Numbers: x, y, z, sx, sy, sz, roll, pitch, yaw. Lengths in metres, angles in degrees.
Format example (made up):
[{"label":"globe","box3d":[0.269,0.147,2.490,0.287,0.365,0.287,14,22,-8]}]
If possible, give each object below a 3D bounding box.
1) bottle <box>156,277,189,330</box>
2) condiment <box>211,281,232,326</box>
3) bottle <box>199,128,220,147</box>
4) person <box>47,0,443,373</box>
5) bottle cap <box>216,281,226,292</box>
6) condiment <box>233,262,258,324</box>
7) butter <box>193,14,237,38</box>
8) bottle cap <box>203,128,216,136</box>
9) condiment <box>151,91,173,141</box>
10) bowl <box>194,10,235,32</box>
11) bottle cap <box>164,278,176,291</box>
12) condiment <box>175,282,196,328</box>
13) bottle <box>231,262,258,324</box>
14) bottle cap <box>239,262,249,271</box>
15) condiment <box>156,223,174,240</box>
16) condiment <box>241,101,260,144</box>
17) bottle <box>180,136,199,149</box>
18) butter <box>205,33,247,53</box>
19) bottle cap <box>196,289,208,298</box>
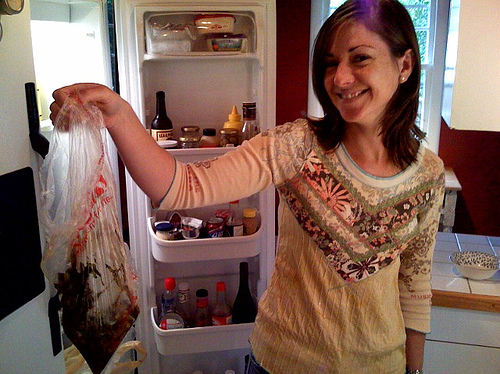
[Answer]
[{"label":"bottle","box3d":[-0.342,0.544,1.837,0.126,0.259,0.148,-1,16,-9]},{"label":"condiment","box3d":[-0.134,0.565,1.889,0.101,0.265,0.100,-5,11,-27]},{"label":"bottle","box3d":[-0.173,-0.212,1.752,0.076,0.075,0.078,2,7,6]},{"label":"person","box3d":[0.120,0.080,1.069,0.882,1.064,0.235,-5,14,-18]},{"label":"bottle cap","box3d":[-0.133,0.443,1.837,0.047,0.035,0.047,2,2,1]},{"label":"condiment","box3d":[-0.025,0.470,1.935,0.096,0.316,0.120,0,3,14]},{"label":"butter","box3d":[-0.145,-0.641,1.641,0.180,0.078,0.144,-1,14,-2]},{"label":"bottle cap","box3d":[-0.178,-0.238,1.771,0.040,0.024,0.040,0,6,-4]},{"label":"condiment","box3d":[-0.374,-0.297,1.755,0.088,0.214,0.086,-4,20,-12]},{"label":"bowl","box3d":[-0.140,-0.650,1.638,0.107,0.040,0.083,-2,-1,13]},{"label":"bottle cap","box3d":[-0.358,0.425,1.826,0.052,0.049,0.053,3,4,7]},{"label":"condiment","box3d":[-0.299,0.536,1.866,0.085,0.220,0.109,0,17,-6]},{"label":"bottle","box3d":[-0.024,0.500,1.961,0.111,0.326,0.098,3,9,20]},{"label":"bottle cap","box3d":[-0.030,0.361,1.862,0.034,0.038,0.035,0,4,1]},{"label":"condiment","box3d":[-0.355,0.184,1.710,0.063,0.067,0.064,0,1,-6]},{"label":"condiment","box3d":[0.000,-0.245,1.780,0.089,0.222,0.090,-1,-4,-2]},{"label":"bottle","box3d":[-0.257,-0.186,1.735,0.054,0.058,0.062,2,14,3]},{"label":"butter","box3d":[-0.094,-0.580,1.650,0.118,0.044,0.084,-1,8,-5]},{"label":"bottle cap","box3d":[-0.218,0.480,1.851,0.065,0.037,0.066,1,0,-3]}]
